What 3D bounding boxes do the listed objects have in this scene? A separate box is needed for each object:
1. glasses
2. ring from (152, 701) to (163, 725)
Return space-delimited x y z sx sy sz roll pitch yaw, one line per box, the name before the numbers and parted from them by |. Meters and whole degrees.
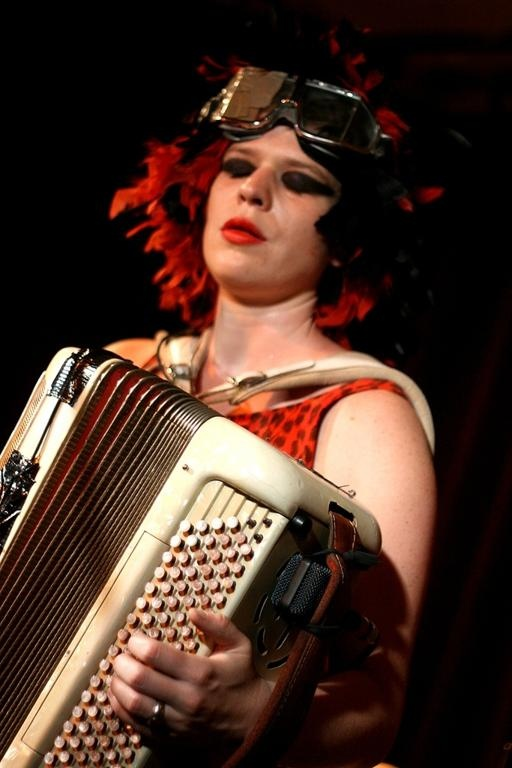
glasses | 0.093 -0.503 1.447 0.411 0.190 0.144 10 21 12
ring | -0.117 0.388 0.840 0.012 0.026 0.020 15 31 6
